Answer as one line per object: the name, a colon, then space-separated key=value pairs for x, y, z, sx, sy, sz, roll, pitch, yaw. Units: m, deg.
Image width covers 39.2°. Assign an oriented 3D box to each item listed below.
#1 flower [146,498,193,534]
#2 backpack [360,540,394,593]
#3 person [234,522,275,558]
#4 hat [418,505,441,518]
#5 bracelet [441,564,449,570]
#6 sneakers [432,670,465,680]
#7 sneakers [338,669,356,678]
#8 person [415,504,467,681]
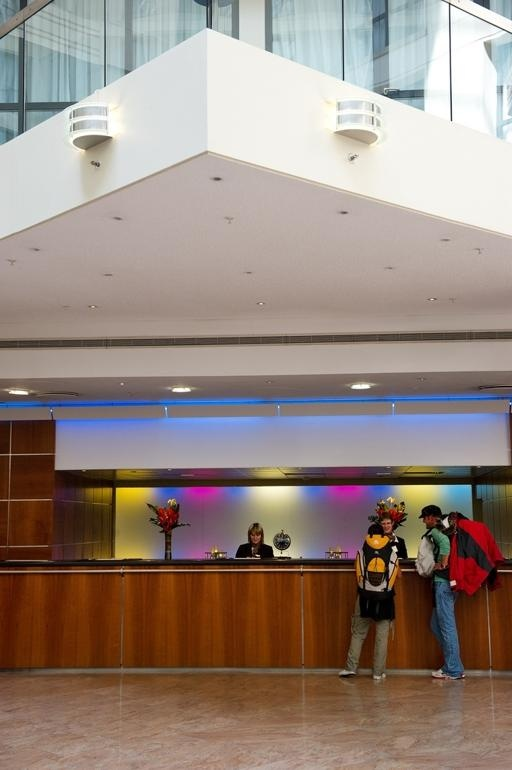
flower: x=-1.016 y=1.483 z=8.052 sx=0.287 sy=0.397 sz=0.692 roll=0 pitch=-5 yaw=-10
backpack: x=1.049 y=1.562 z=6.235 sx=0.340 sy=0.502 sz=0.270 roll=2 pitch=-1 yaw=14
person: x=-0.007 y=1.684 z=7.743 sx=0.344 sy=0.366 sz=0.744 roll=0 pitch=-5 yaw=-8
hat: x=1.566 y=1.139 z=6.537 sx=0.163 sy=0.127 sz=0.221 roll=9 pitch=-4 yaw=-36
bracelet: x=1.657 y=1.586 z=6.280 sx=0.054 sy=0.054 sz=0.017 roll=-2 pitch=8 yaw=-13
sneakers: x=1.680 y=2.543 z=6.280 sx=0.258 sy=0.125 sz=0.105 roll=-2 pitch=-7 yaw=8
sneakers: x=0.803 y=2.528 z=6.328 sx=0.064 sy=0.078 sz=0.178 roll=6 pitch=-11 yaw=-22
person: x=1.648 y=1.837 z=6.426 sx=0.388 sy=1.499 sz=0.323 roll=-4 pitch=-6 yaw=45
